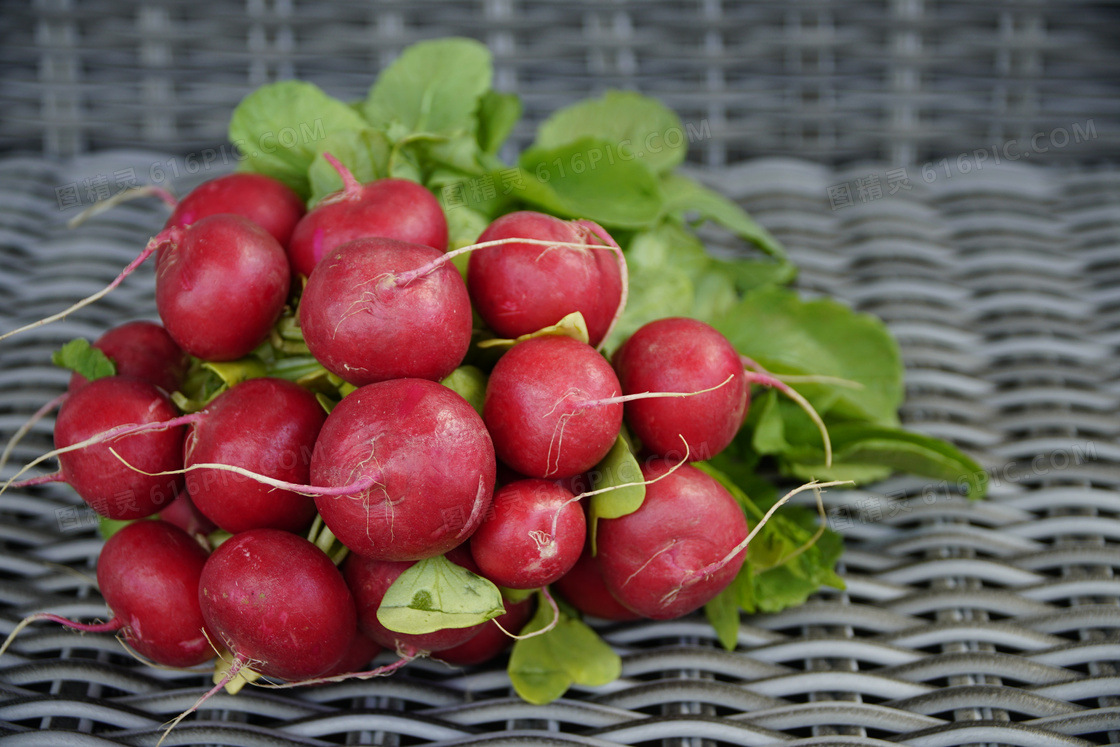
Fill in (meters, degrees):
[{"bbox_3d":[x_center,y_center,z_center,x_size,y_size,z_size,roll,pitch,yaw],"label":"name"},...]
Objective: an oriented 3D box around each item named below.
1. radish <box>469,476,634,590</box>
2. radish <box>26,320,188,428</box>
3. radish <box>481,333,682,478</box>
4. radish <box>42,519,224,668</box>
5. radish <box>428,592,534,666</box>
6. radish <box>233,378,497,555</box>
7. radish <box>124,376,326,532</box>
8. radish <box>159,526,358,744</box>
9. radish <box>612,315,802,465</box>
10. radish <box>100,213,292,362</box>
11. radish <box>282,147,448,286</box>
[{"bbox_3d":[-0.004,0.130,1.011,0.095,0.085,0.127,-5,-9,-1],"label":"radish"},{"bbox_3d":[-0.403,0.007,1.097,0.105,0.069,0.069,-13,42,7],"label":"radish"},{"bbox_3d":[0.013,0.028,1.066,0.129,0.103,0.154,-11,-3,-8],"label":"radish"},{"bbox_3d":[-0.361,0.169,1.085,0.191,0.117,0.130,-8,11,-19],"label":"radish"},{"bbox_3d":[-0.064,0.222,1.094,0.085,0.043,0.058,-17,-11,-15],"label":"radish"},{"bbox_3d":[-0.130,0.083,0.998,0.156,0.141,0.191,17,-11,22],"label":"radish"},{"bbox_3d":[-0.249,0.066,1.016,0.142,0.128,0.122,26,20,-24],"label":"radish"},{"bbox_3d":[-0.211,0.201,1.022,0.115,0.083,0.195,27,46,35],"label":"radish"},{"bbox_3d":[0.124,0.014,1.080,0.146,0.088,0.096,7,21,0],"label":"radish"},{"bbox_3d":[-0.305,-0.084,1.045,0.118,0.132,0.106,-7,20,13],"label":"radish"},{"bbox_3d":[-0.162,-0.150,1.094,0.121,0.126,0.112,7,-6,-24],"label":"radish"}]
